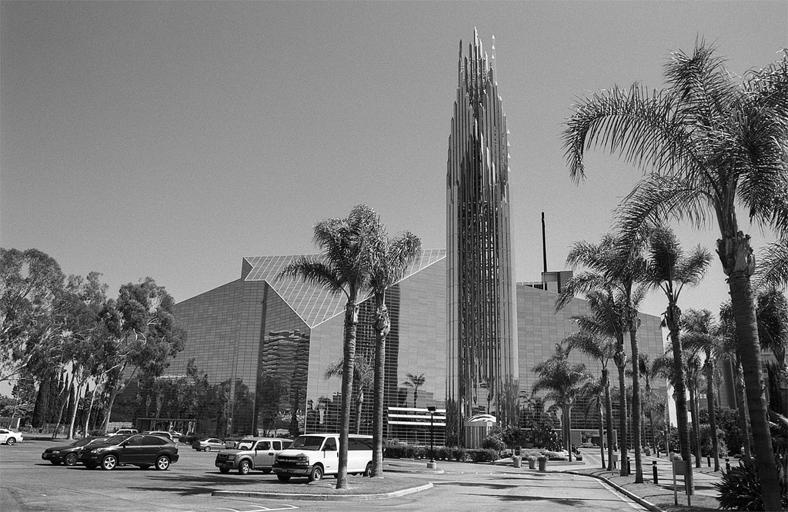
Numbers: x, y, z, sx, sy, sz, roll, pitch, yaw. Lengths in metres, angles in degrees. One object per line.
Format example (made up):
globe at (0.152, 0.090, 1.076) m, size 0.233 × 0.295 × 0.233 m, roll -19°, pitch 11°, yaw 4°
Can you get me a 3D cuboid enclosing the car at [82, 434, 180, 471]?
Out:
car at (-15.708, 11.811, 39.568) m, size 5.217 × 1.992 × 2.300 m, roll 15°, pitch -19°, yaw -39°
